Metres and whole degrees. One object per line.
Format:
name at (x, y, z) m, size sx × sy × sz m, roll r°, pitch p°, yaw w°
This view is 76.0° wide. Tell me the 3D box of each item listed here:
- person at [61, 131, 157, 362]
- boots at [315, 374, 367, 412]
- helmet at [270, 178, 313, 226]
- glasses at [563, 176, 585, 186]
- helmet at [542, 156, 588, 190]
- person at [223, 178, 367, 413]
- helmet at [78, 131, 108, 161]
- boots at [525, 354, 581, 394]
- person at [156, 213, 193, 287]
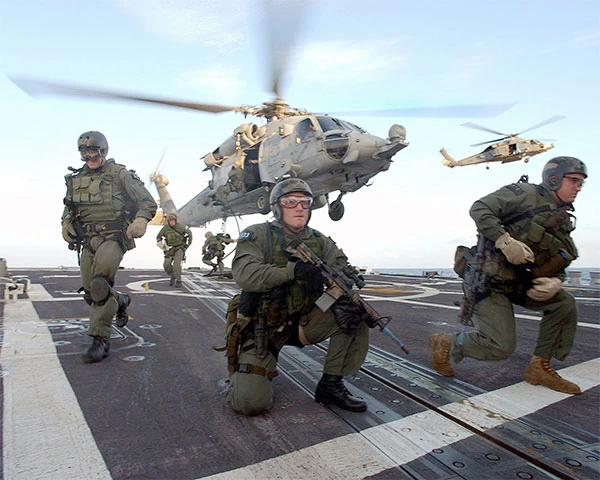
person at (-2.226, -0.020, 4.527) m, size 0.932 × 2.612 × 1.157 m, roll 1°, pitch 2°, yaw -30°
boots at (0.327, 1.246, 3.088) m, size 0.408 × 0.237 × 0.149 m, roll 2°, pitch 2°, yaw 38°
helmet at (-0.072, -0.363, 3.560) m, size 0.361 × 0.412 × 0.330 m, roll 5°, pitch 12°, yaw -39°
glasses at (2.513, -0.541, 3.501) m, size 0.143 × 0.100 × 0.120 m, roll 2°, pitch 2°, yaw 29°
helmet at (2.402, -0.624, 3.483) m, size 0.335 × 0.313 × 0.277 m, roll 2°, pitch 2°, yaw 27°
person at (0.031, 0.416, 3.502) m, size 1.210 × 1.791 × 1.343 m, roll -1°, pitch 1°, yaw -39°
helmet at (-2.435, -1.134, 4.527) m, size 0.295 × 0.390 × 0.361 m, roll 1°, pitch 2°, yaw -25°
boots at (2.279, 1.262, 3.520) m, size 0.494 × 0.242 × 0.190 m, roll -2°, pitch 0°, yaw 42°
person at (-3.791, 0.279, 11.630) m, size 1.010 × 2.138 × 1.440 m, roll 1°, pitch 2°, yaw -16°
